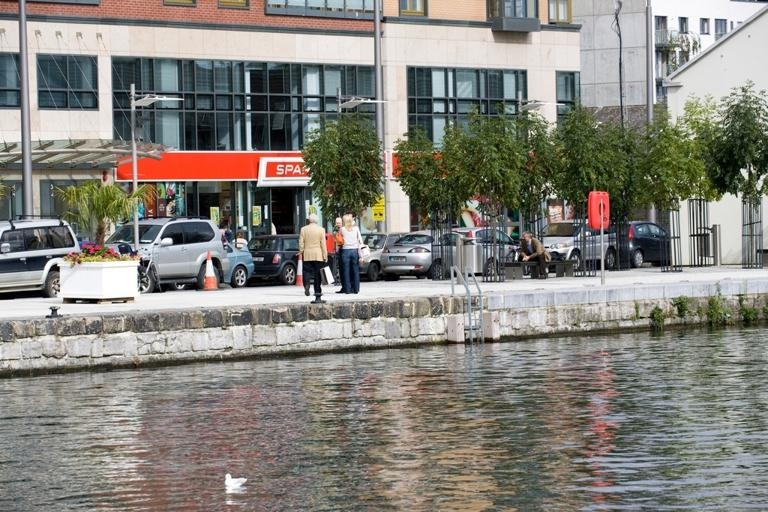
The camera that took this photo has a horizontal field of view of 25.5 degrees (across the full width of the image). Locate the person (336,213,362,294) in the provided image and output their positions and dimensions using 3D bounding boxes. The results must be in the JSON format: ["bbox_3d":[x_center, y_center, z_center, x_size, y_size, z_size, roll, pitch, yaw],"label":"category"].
[{"bbox_3d":[-1.041,-0.049,50.430,0.712,2.120,0.834,0,1,-9],"label":"person"}]

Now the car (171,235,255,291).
[{"bbox_3d":[-4.823,0.300,56.291,1.650,1.883,4.025,0,0,8],"label":"car"}]

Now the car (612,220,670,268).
[{"bbox_3d":[9.609,-0.428,62.584,2.357,1.231,1.359,-6,5,-44],"label":"car"}]

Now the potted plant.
[{"bbox_3d":[-8.639,-1.523,52.877,2.754,3.837,2.406,0,0,39],"label":"potted plant"}]

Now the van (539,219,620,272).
[{"bbox_3d":[7.149,-0.395,61.599,2.669,1.555,1.658,5,-5,-36],"label":"van"}]

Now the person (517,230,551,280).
[{"bbox_3d":[4.987,-0.031,56.040,0.958,1.612,1.527,-3,3,-1],"label":"person"}]

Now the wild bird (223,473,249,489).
[{"bbox_3d":[-2.988,4.526,34.010,0.431,0.365,0.244,3,0,-23],"label":"wild bird"}]
